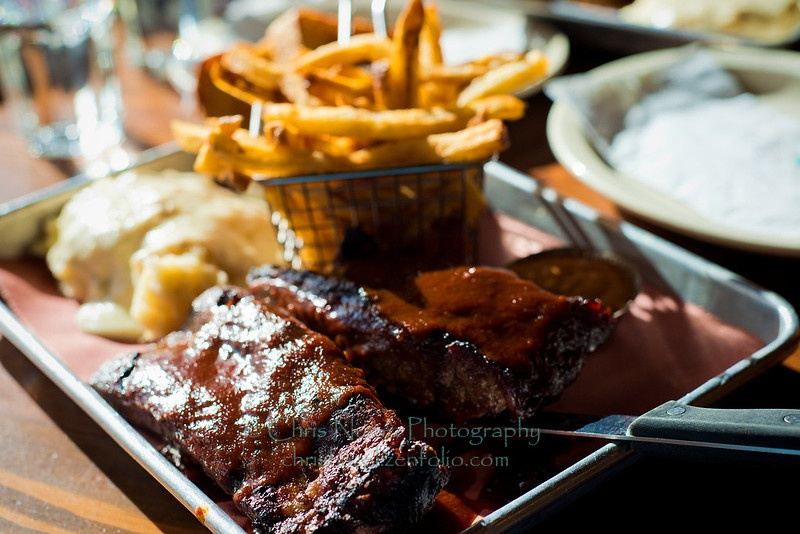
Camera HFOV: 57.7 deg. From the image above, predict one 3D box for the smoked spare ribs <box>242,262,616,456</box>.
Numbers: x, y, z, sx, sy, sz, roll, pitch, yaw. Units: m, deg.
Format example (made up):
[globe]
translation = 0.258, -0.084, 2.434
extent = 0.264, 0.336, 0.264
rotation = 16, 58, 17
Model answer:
[smoked spare ribs]
translation = 0.086, 0.113, 1.295
extent = 0.517, 0.162, 0.286
rotation = 9, 27, 21
